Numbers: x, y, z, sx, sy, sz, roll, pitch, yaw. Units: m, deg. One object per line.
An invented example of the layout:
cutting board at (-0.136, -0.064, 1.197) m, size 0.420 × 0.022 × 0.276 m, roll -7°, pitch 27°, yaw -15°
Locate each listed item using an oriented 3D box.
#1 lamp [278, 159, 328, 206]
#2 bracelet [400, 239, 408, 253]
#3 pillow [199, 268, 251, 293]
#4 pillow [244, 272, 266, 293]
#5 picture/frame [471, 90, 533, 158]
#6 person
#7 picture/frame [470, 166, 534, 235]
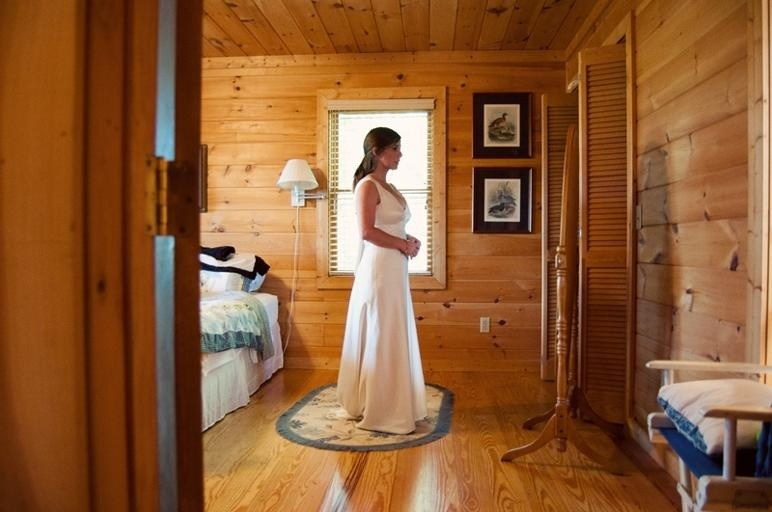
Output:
lamp at (-0.659, -0.558, 4.619) m, size 0.369 × 0.370 × 0.365 m, roll -1°, pitch 6°, yaw -7°
bracelet at (0.104, -0.053, 3.367) m, size 0.025 × 0.054 × 0.048 m, roll -4°, pitch 7°, yaw 8°
pillow at (-1.187, 0.190, 4.246) m, size 0.327 × 0.110 × 0.371 m, roll -1°, pitch 2°, yaw -8°
pillow at (-1.011, 0.194, 4.536) m, size 0.079 × 0.146 × 0.114 m, roll 19°, pitch -21°, yaw 14°
picture/frame at (0.897, -1.006, 4.612) m, size 0.543 × 0.543 × 0.060 m, roll 0°, pitch 1°, yaw 2°
person at (-0.013, 0.111, 3.384) m, size 0.465 × 1.682 × 0.546 m, roll -2°, pitch 7°, yaw -18°
picture/frame at (0.911, -0.443, 4.614) m, size 0.573 × 0.558 × 0.047 m, roll 0°, pitch 0°, yaw 1°
